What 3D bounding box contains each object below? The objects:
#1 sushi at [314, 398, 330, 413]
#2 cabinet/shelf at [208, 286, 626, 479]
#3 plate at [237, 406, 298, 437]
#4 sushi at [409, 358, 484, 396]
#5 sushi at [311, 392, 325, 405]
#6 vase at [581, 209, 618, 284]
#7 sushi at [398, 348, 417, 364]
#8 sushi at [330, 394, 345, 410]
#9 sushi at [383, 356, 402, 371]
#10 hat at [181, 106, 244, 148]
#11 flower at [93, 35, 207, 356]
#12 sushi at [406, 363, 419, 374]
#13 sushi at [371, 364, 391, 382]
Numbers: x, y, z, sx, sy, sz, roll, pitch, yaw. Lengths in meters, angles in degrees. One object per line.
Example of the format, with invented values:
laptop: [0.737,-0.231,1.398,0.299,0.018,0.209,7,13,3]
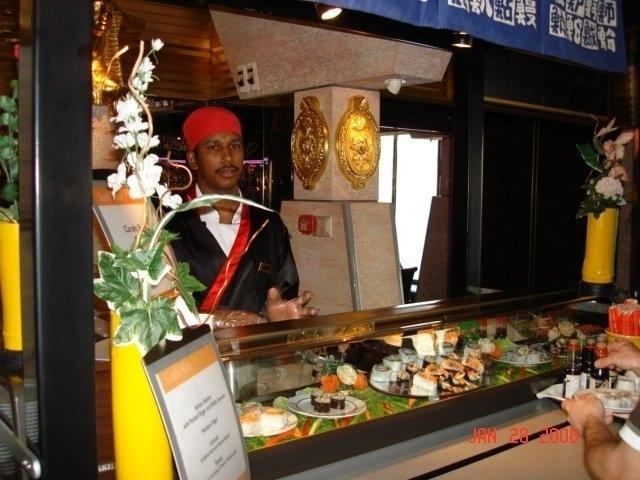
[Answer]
sushi: [0.004,0.521,1.584,0.049,0.039,0.047,3,4,28]
cabinet/shelf: [0.252,0.417,1.686,1.105,0.408,0.518,-1,5,-37]
plate: [-0.152,0.535,1.483,0.184,0.074,0.085,-6,4,-33]
sushi: [0.466,0.505,1.806,0.256,0.055,0.124,-7,16,-26]
sushi: [-0.007,0.508,1.590,0.037,0.022,0.037,-4,7,-39]
vase: [1.586,0.028,2.794,0.184,0.408,0.357,-3,4,29]
sushi: [0.323,0.424,1.809,0.067,0.055,0.057,0,-1,-16]
sushi: [0.055,0.522,1.605,0.047,0.032,0.042,0,-2,-15]
sushi: [0.260,0.439,1.768,0.058,0.028,0.052,1,0,-1]
hat: [-0.624,-0.646,2.917,0.347,0.230,0.296,-1,9,-29]
flower: [-0.326,-0.015,1.008,0.195,0.712,0.198,-3,11,-41]
sushi: [0.339,0.462,1.783,0.040,0.012,0.037,-1,2,-26]
sushi: [0.212,0.473,1.748,0.068,0.039,0.067,2,3,35]
